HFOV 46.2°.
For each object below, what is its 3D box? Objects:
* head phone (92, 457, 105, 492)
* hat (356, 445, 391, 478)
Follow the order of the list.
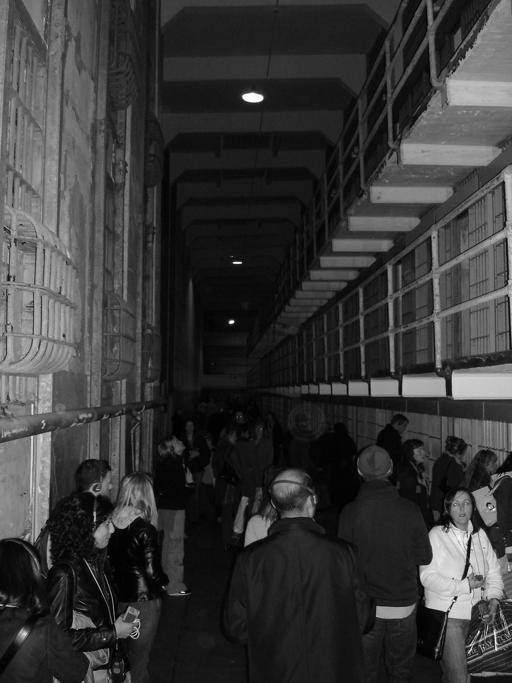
[{"bbox_3d":[-0.874,0.755,3.365,0.045,0.159,0.087,-1,0,-10],"label":"head phone"},{"bbox_3d":[0.640,0.652,3.364,0.144,0.186,0.294,-1,-3,5],"label":"hat"}]
